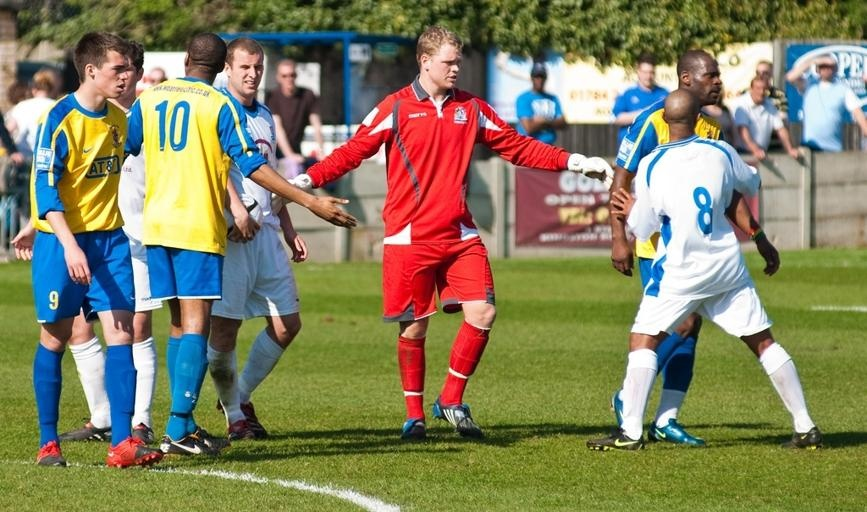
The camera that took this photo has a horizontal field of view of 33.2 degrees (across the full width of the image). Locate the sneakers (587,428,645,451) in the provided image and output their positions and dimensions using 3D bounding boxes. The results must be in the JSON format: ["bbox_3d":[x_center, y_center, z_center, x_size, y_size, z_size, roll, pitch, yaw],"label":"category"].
[{"bbox_3d":[1.599,1.596,12.858,0.534,0.236,0.190,3,1,5],"label":"sneakers"}]

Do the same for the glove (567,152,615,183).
[{"bbox_3d":[1.442,-0.809,13.332,0.408,0.222,0.185,22,5,-2],"label":"glove"}]

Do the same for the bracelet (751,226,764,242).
[{"bbox_3d":[2.885,-0.193,12.979,0.111,0.079,0.113,-22,6,14],"label":"bracelet"}]

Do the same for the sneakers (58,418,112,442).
[{"bbox_3d":[-3.093,1.562,13.060,0.483,0.199,0.174,2,-1,-5],"label":"sneakers"}]

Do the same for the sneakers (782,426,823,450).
[{"bbox_3d":[3.240,1.591,12.771,0.378,0.162,0.136,-2,-1,22],"label":"sneakers"}]

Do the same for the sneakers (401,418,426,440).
[{"bbox_3d":[-0.173,1.561,13.203,0.223,0.176,0.215,1,5,-2],"label":"sneakers"}]

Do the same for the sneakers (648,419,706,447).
[{"bbox_3d":[2.131,1.575,13.002,0.562,0.233,0.189,3,0,13],"label":"sneakers"}]

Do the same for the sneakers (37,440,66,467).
[{"bbox_3d":[-3.235,1.679,12.339,0.135,0.142,0.315,-1,5,-25],"label":"sneakers"}]

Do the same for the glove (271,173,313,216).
[{"bbox_3d":[-1.282,-0.567,13.108,0.390,0.148,0.311,-34,13,12],"label":"glove"}]
